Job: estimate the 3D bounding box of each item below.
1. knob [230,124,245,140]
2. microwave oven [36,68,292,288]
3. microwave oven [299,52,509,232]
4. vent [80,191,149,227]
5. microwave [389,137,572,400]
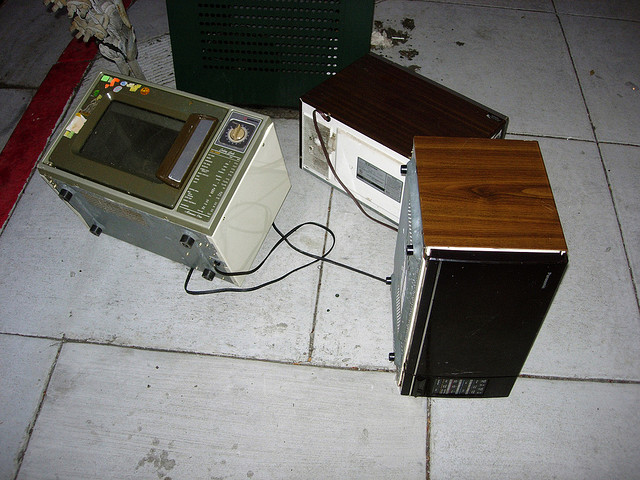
[{"bbox_3d":[-0.354,-0.459,2.396,0.058,0.024,0.058,-36,70,-29],"label":"knob"},{"bbox_3d":[-0.763,-0.251,2.615,0.815,0.544,0.572,16,63,18],"label":"microwave oven"},{"bbox_3d":[0.444,-0.412,3.132,1.112,0.705,0.833,30,64,19],"label":"microwave oven"},{"bbox_3d":[-0.895,-0.143,2.454,0.223,0.154,0.015,24,70,7],"label":"vent"},{"bbox_3d":[0.625,0.182,2.305,0.465,0.862,0.647,7,40,8],"label":"microwave"}]
